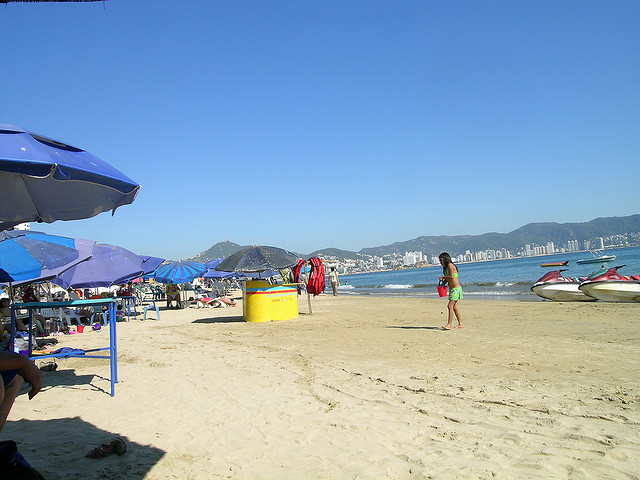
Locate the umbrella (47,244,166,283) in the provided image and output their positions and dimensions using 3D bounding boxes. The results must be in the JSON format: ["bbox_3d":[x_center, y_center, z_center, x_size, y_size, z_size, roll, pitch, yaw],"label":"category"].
[{"bbox_3d":[-7.144,0.827,13.149,2.465,0.689,2.371,-6,4,-43],"label":"umbrella"}]

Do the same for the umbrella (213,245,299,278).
[{"bbox_3d":[-2.390,0.699,16.003,3.337,1.182,3.215,-7,6,-43],"label":"umbrella"}]

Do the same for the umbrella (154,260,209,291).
[{"bbox_3d":[-7.927,1.849,23.125,2.454,1.534,2.238,-6,5,-2],"label":"umbrella"}]

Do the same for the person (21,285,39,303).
[{"bbox_3d":[-9.620,1.737,13.179,0.317,0.691,3.260,-3,-8,-36],"label":"person"}]

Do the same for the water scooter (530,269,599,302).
[{"bbox_3d":[12.445,2.164,19.324,4.149,1.398,2.058,3,-4,8],"label":"water scooter"}]
